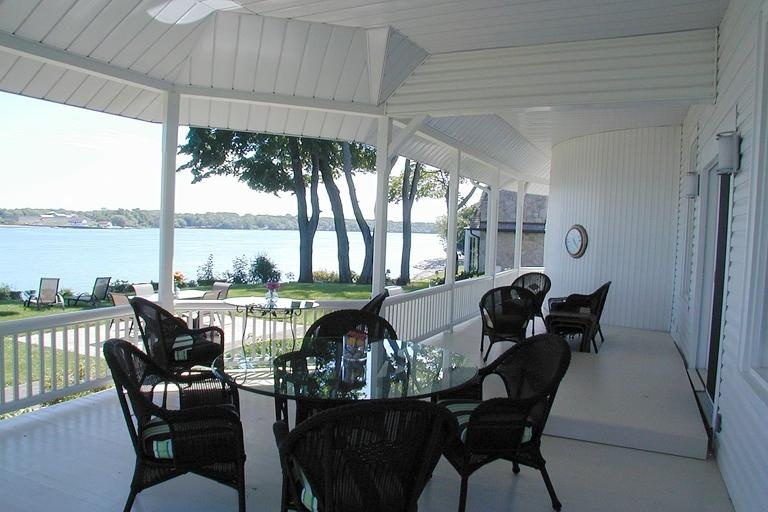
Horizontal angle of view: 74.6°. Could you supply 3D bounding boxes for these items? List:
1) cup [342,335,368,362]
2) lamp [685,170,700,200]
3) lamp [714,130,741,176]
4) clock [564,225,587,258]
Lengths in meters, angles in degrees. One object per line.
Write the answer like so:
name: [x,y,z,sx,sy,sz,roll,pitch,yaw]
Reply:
cup: [-0.238,0.773,4.222,0.179,0.197,0.182,1,-1,0]
lamp: [4.102,-0.939,6.680,0.104,0.340,0.183,-1,0,-35]
lamp: [3.051,-0.895,4.449,0.190,0.366,0.141,-1,-13,39]
clock: [3.570,-0.259,9.372,0.065,0.600,0.611,0,-3,-13]
